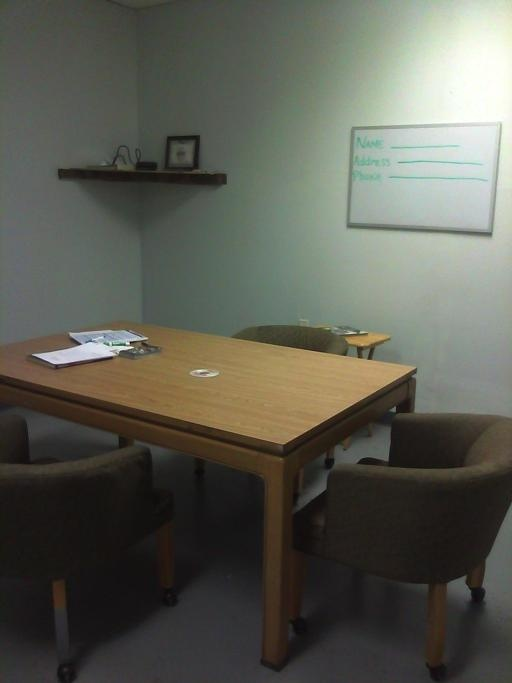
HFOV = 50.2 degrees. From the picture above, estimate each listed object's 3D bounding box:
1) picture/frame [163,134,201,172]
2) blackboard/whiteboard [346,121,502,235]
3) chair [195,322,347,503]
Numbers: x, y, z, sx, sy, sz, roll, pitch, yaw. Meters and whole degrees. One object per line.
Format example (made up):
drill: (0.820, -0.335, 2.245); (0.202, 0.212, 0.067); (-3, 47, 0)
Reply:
picture/frame: (-0.555, -1.443, 4.179); (0.368, 0.309, 0.038); (6, 8, 36)
blackboard/whiteboard: (0.985, -0.945, 3.119); (0.729, 0.493, 0.030); (12, 19, 34)
chair: (0.218, 0.309, 3.045); (0.800, 0.878, 0.790); (4, 5, 31)
